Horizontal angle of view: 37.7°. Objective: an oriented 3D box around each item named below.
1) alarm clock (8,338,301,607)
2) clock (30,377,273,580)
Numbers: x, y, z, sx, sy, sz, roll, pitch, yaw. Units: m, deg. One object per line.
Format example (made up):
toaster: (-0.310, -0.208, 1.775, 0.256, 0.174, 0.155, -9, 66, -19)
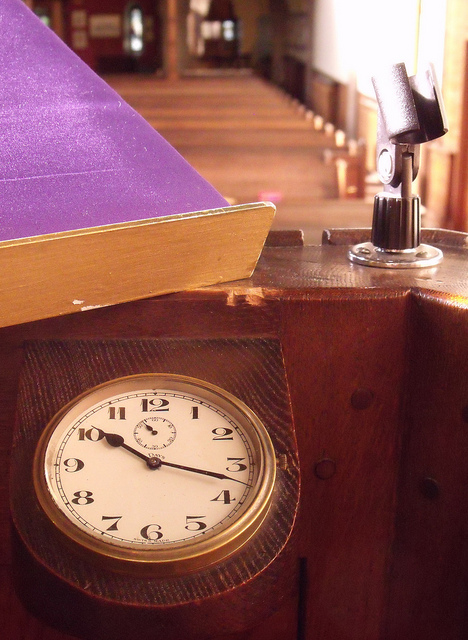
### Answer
alarm clock: (-0.083, 0.128, 0.694, 0.295, 0.190, 0.258, -1, 15, 4)
clock: (-0.076, 0.145, 0.671, 0.228, 0.132, 0.179, -1, 15, 3)
